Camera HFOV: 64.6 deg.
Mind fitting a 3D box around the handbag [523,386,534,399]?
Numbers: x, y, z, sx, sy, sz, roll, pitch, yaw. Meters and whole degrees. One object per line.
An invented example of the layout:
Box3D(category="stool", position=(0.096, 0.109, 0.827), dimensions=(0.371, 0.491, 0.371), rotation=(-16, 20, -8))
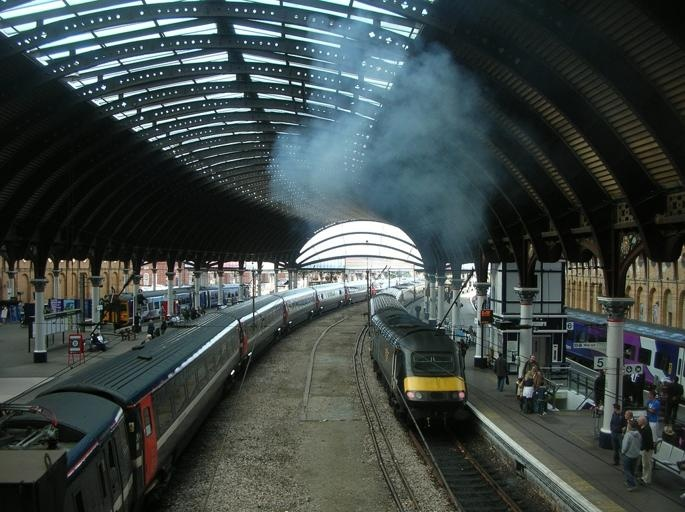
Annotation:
Box3D(category="handbag", position=(7.311, 5.289, 21.215), dimensions=(0.348, 0.682, 0.483), rotation=(3, -17, 17))

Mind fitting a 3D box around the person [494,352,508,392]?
Box3D(category="person", position=(7.207, 5.239, 24.650), dimensions=(0.478, 1.713, 1.272), rotation=(-1, 5, 16))

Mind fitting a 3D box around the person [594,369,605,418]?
Box3D(category="person", position=(9.697, 5.230, 20.458), dimensions=(0.351, 1.565, 2.771), rotation=(0, 5, 26))
